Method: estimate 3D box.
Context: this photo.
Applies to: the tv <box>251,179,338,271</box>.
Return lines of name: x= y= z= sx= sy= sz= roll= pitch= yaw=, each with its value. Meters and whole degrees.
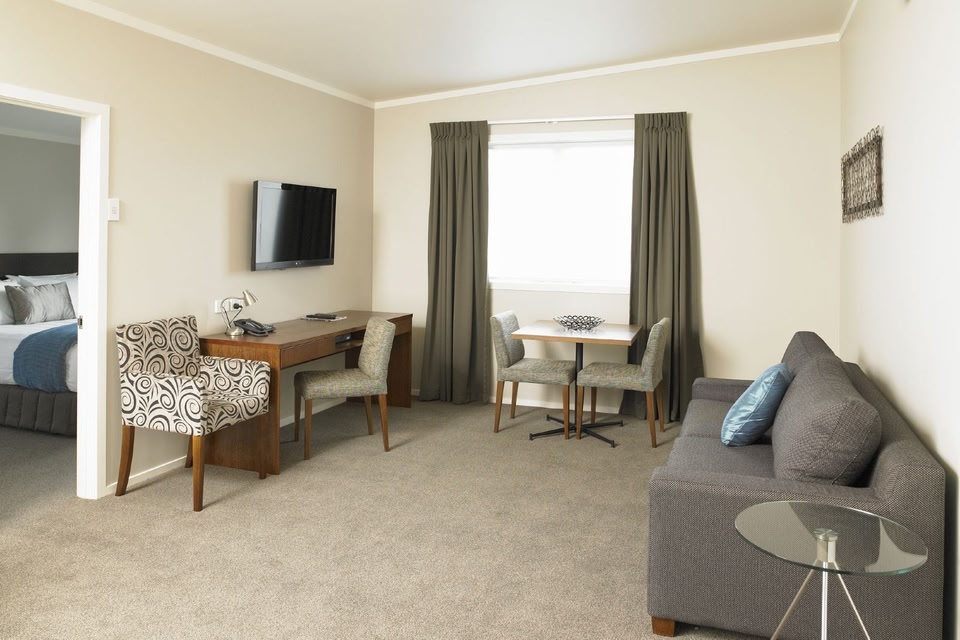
tv: x=-1.665 y=-0.848 z=6.066 sx=0.095 sy=0.744 sz=1.006 roll=11 pitch=12 yaw=27

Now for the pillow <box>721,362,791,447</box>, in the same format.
pillow: x=1.770 y=0.551 z=4.294 sx=0.203 sy=0.387 sz=0.272 roll=12 pitch=49 yaw=16

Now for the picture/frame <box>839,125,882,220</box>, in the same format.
picture/frame: x=2.744 y=-1.005 z=4.818 sx=0.107 sy=0.689 sz=1.195 roll=6 pitch=14 yaw=20

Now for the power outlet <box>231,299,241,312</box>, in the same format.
power outlet: x=-2.001 y=-0.109 z=5.525 sx=0.063 sy=0.094 sz=0.093 roll=4 pitch=5 yaw=23

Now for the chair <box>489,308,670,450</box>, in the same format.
chair: x=0.933 y=0.484 z=6.100 sx=1.492 sy=1.092 sz=0.971 roll=1 pitch=4 yaw=20

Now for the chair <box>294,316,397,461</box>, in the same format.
chair: x=-1.170 y=0.533 z=5.756 sx=0.756 sy=1.083 sz=0.698 roll=0 pitch=5 yaw=-23

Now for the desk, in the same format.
desk: x=-1.437 y=0.531 z=6.087 sx=0.769 sy=1.068 sz=2.068 roll=6 pitch=10 yaw=23
